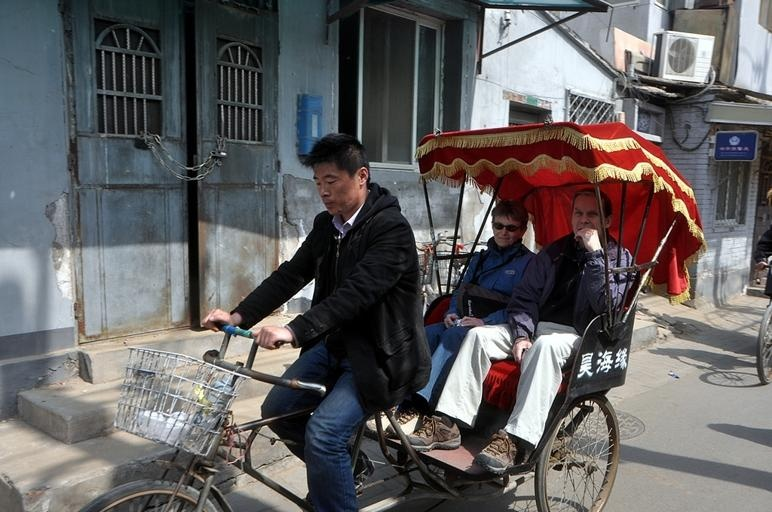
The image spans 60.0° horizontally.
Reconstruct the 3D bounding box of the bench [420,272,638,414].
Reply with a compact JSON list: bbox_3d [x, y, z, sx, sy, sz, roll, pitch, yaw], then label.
[{"bbox_3d":[1.362,0.677,5.755,1.139,1.681,1.501,8,2,40],"label":"bench"}]

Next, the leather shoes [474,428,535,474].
[{"bbox_3d":[0.947,1.542,5.279,0.217,0.248,0.535,34,10,35],"label":"leather shoes"}]

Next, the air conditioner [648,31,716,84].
[{"bbox_3d":[5.328,-3.520,11.940,0.808,0.768,0.499,9,13,15],"label":"air conditioner"}]

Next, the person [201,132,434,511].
[{"bbox_3d":[-0.345,0.471,4.893,1.291,2.690,0.749,-1,6,-14],"label":"person"}]
